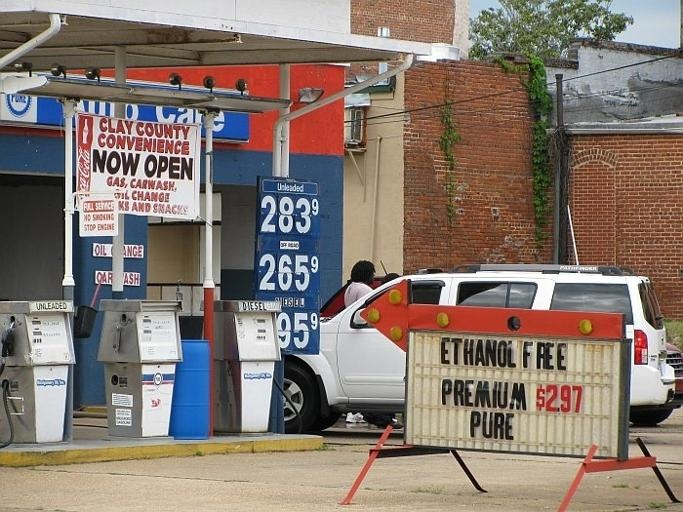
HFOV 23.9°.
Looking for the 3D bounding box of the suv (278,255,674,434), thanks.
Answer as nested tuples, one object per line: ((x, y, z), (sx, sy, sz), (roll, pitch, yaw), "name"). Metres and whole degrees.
((2.049, 1.245, 23.796), (4.727, 2.048, 2.707), (2, -2, 16), "suv")

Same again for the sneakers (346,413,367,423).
((0.257, 2.528, 25.215), (0.247, 0.112, 0.324), (6, 16, 0), "sneakers")

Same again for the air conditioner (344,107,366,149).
((0.357, -3.225, 40.742), (0.505, 0.965, 0.470), (3, -14, 2), "air conditioner")

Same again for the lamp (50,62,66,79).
((-3.749, -2.473, 21.383), (0.267, 0.269, 0.193), (2, -1, -11), "lamp")

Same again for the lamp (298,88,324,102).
((-0.438, -2.313, 23.252), (0.333, 0.273, 0.501), (-2, -3, -2), "lamp")
